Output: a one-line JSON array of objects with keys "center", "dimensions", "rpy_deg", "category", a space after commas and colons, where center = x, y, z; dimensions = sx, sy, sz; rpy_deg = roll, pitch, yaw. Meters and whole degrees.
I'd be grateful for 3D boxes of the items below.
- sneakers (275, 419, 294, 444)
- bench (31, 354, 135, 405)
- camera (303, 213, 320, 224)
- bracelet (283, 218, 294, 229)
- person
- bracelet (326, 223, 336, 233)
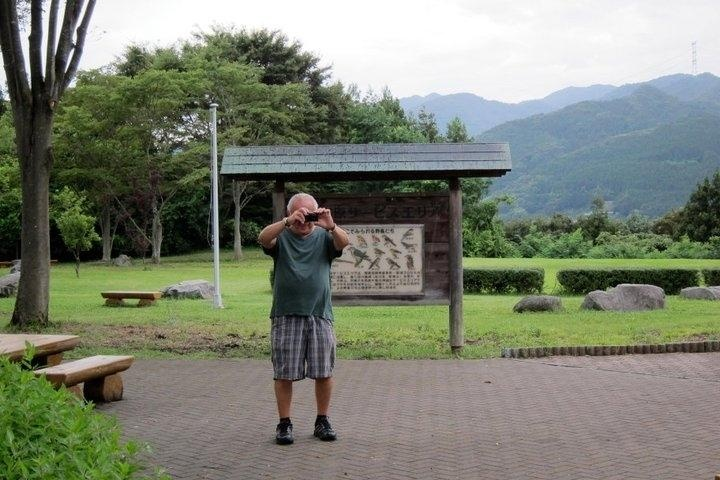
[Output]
[{"center": [-0.960, 2.492, 8.942], "dimensions": [0.154, 0.173, 0.419], "rpy_deg": [1, -7, -9], "category": "sneakers"}, {"center": [-3.965, 2.121, 10.045], "dimensions": [0.520, 0.558, 1.604], "rpy_deg": [-3, -3, 12], "category": "bench"}, {"center": [-0.611, -0.273, 8.836], "dimensions": [0.194, 0.125, 0.103], "rpy_deg": [1, 8, 1], "category": "camera"}, {"center": [-0.915, -0.201, 8.894], "dimensions": [0.045, 0.121, 0.095], "rpy_deg": [-34, -32, 20], "category": "bracelet"}, {"center": [-0.749, 1.013, 8.951], "dimensions": [1.006, 3.222, 0.408], "rpy_deg": [-1, 1, -3], "category": "person"}, {"center": [-0.367, -0.143, 8.902], "dimensions": [0.101, 0.090, 0.145], "rpy_deg": [-1, 1, -5], "category": "bracelet"}]
